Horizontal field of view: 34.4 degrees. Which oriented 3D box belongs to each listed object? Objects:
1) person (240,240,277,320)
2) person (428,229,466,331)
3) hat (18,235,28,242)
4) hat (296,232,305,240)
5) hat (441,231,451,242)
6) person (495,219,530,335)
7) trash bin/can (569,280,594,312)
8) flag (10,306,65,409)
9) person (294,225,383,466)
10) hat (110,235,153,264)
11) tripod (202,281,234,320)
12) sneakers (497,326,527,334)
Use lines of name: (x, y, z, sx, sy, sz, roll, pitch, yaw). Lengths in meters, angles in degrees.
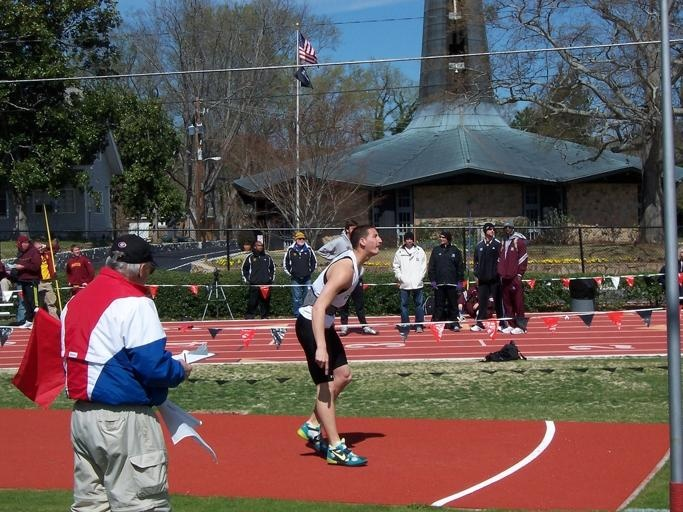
person: (-2.166, 0.635, 28.912, 0.803, 2.127, 0.614, -1, 13, -4)
person: (2.515, 0.522, 26.565, 0.847, 2.250, 0.498, 1, 13, 6)
hat: (-8.225, -0.457, 28.650, 0.264, 0.238, 0.199, 5, 6, 41)
hat: (-1.037, -0.493, 27.869, 0.238, 0.133, 0.327, 2, 1, -10)
hat: (2.532, -0.479, 26.422, 0.246, 0.234, 0.196, 28, 9, -10)
person: (4.024, 0.574, 25.828, 0.659, 2.567, 1.210, 2, 13, 8)
trash bin/can: (6.354, 1.053, 29.053, 0.785, 0.821, 0.743, -2, 0, 44)
flag: (-4.606, 1.591, 16.857, 0.723, 1.416, 0.493, -4, 14, -18)
person: (-0.094, 1.529, 18.691, 1.189, 3.949, 1.164, -6, 14, -25)
hat: (-3.159, -0.087, 16.655, 0.401, 0.329, 0.556, 11, 12, 25)
tripod: (-3.341, 1.193, 29.784, 0.870, 1.170, 0.901, -2, 13, -8)
sneakers: (4.008, 1.727, 26.002, 0.531, 0.237, 0.200, 3, 1, 4)
